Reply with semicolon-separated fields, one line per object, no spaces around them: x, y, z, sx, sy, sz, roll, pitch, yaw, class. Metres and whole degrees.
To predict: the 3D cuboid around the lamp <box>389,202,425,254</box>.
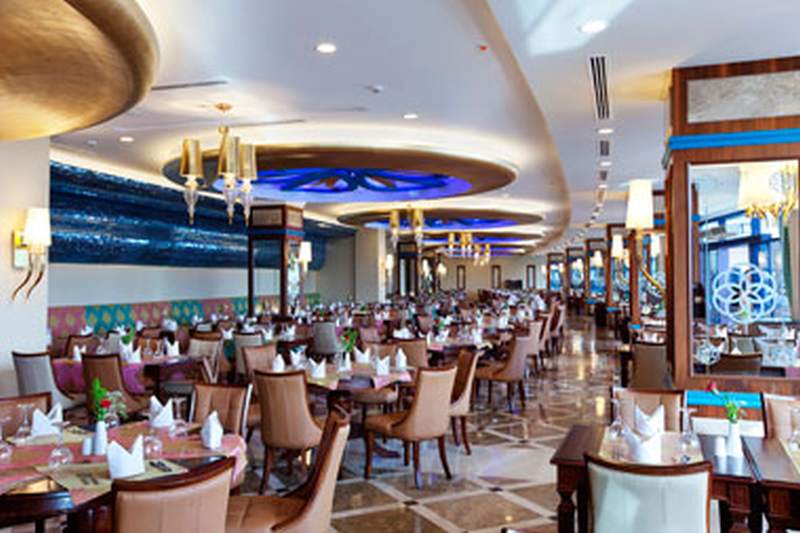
0.154;-1.012;13.726;0.975;0.988;0.921;-11;19;-14;lamp

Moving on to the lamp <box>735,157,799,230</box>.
3.485;-0.730;5.527;0.545;0.741;0.545;1;4;0;lamp

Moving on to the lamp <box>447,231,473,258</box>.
2.329;-0.921;22.691;0.997;1.246;1.009;-2;5;-42;lamp

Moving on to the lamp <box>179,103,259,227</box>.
-2.399;-1.474;7.758;1.037;1.334;1.024;-2;2;-34;lamp

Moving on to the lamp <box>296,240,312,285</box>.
-2.433;-0.152;14.625;0.255;1.033;0.840;0;3;-9;lamp
